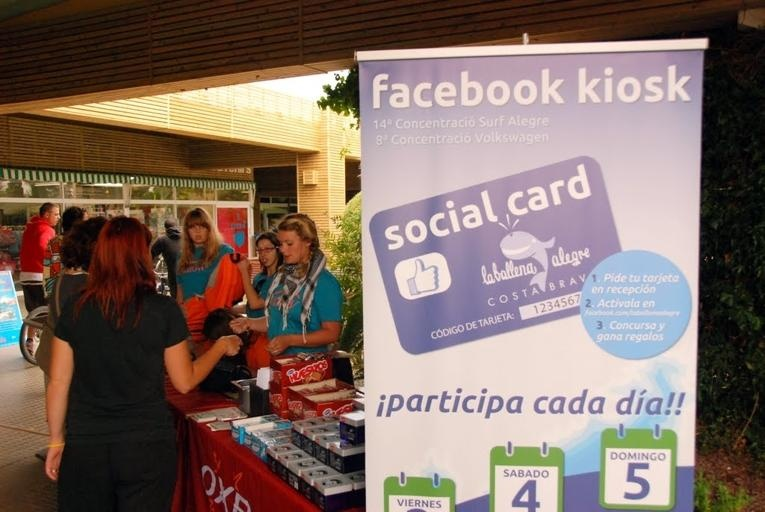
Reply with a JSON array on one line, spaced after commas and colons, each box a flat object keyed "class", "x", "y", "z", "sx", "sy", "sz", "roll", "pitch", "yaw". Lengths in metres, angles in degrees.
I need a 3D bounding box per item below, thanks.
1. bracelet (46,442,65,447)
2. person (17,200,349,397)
[{"class": "bracelet", "x": -1.644, "y": 0.954, "z": 3.216, "sx": 0.077, "sy": 0.018, "sz": 0.045, "roll": -18, "pitch": -19, "yaw": 15}, {"class": "person", "x": -1.304, "y": 0.187, "z": 3.959, "sx": 1.698, "sy": 0.989, "sz": 0.823, "roll": -1, "pitch": 1, "yaw": -13}]
